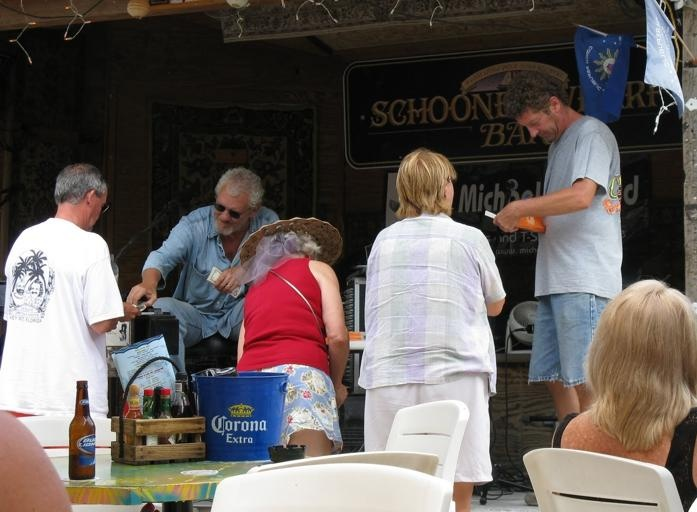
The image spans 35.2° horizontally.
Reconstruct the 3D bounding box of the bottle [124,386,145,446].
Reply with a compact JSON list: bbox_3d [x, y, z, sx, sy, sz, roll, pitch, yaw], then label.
[{"bbox_3d":[-0.941,0.684,4.814,0.079,0.247,0.282,0,-1,-10],"label":"bottle"}]

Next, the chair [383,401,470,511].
[{"bbox_3d":[0.380,0.860,5.004,0.339,0.512,0.407,-6,-19,38],"label":"chair"}]

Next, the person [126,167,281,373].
[{"bbox_3d":[-1.019,0.142,8.148,1.215,1.803,1.346,5,-15,-7],"label":"person"}]

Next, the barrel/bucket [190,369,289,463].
[{"bbox_3d":[-0.478,0.685,4.765,0.415,0.294,0.378,0,-7,0],"label":"barrel/bucket"}]

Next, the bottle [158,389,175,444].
[{"bbox_3d":[-0.793,0.692,4.795,0.069,0.235,0.165,-1,-1,-8],"label":"bottle"}]
